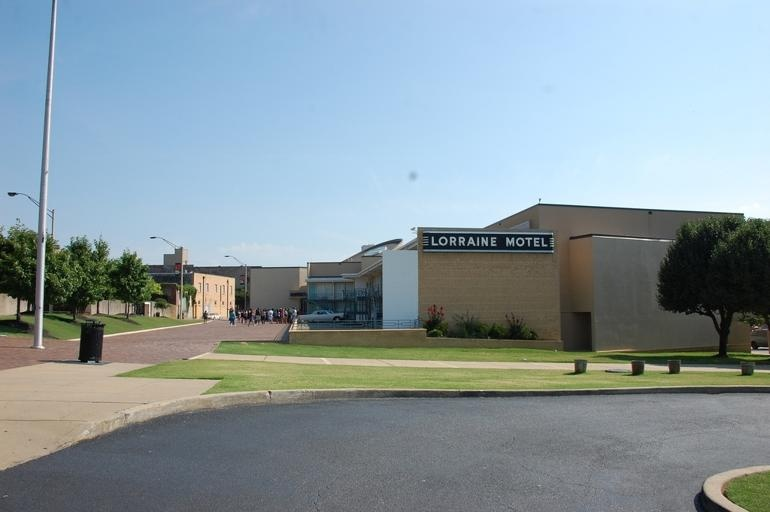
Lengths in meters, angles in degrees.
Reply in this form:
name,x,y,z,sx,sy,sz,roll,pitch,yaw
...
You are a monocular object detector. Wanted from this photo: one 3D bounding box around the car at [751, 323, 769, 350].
name,x,y,z,sx,sy,sz,roll,pitch,yaw
car,30.426,6.823,53.834,0.853,1.495,3.357,-1,-1,43
